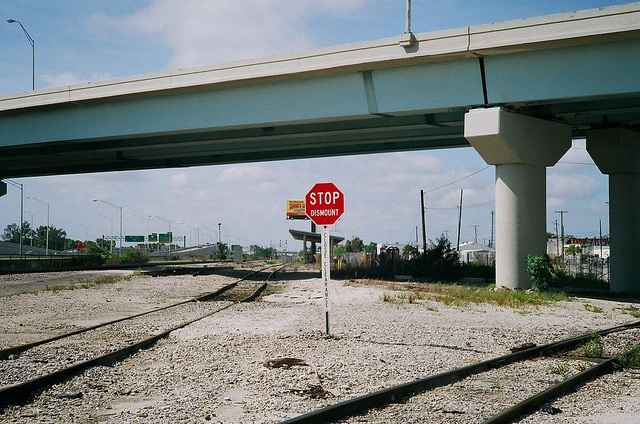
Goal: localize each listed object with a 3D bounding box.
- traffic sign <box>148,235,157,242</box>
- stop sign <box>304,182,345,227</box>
[{"bbox_3d":[-46.565,7.446,167.137,1.463,2.094,2.844,1,-2,7],"label":"traffic sign"},{"bbox_3d":[0.153,-0.214,19.285,1.300,1.445,0.168,-1,-1,16],"label":"stop sign"}]
